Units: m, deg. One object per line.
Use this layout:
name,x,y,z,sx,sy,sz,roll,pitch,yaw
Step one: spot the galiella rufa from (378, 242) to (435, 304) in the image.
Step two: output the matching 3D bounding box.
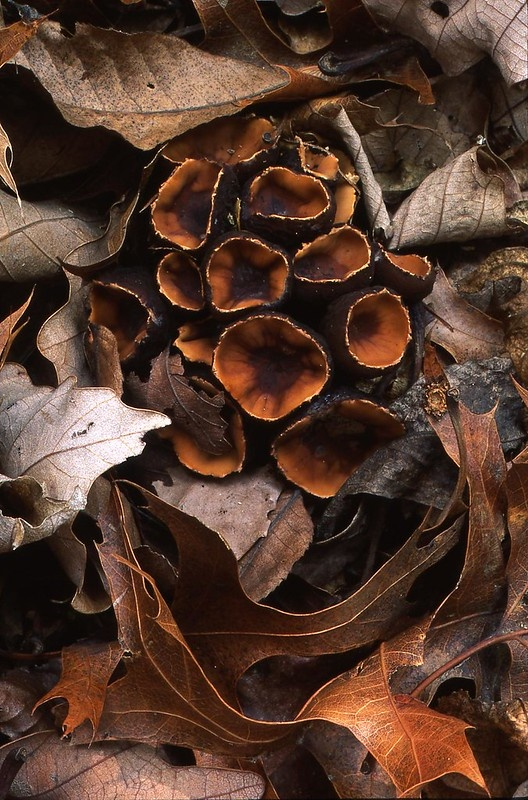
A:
galiella rufa,0.335,-0.294,1.883,0.141,0.078,0.112,35,41,26

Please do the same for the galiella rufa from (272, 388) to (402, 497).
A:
galiella rufa,0.158,0.106,1.886,0.294,0.226,0.088,-42,20,18

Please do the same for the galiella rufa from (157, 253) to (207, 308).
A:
galiella rufa,-0.189,-0.268,1.844,0.109,0.127,0.048,-20,12,4

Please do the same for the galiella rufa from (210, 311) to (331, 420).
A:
galiella rufa,0.013,-0.078,1.789,0.260,0.230,0.139,0,36,2

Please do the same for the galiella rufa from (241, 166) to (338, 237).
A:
galiella rufa,0.049,-0.435,1.803,0.167,0.135,0.152,20,41,29

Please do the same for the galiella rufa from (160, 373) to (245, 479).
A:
galiella rufa,-0.160,0.067,1.880,0.196,0.231,0.086,-38,-4,39

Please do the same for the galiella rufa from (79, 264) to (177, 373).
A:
galiella rufa,-0.309,-0.204,1.843,0.216,0.225,0.199,-23,2,8

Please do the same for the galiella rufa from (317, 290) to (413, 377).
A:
galiella rufa,0.228,-0.146,1.792,0.198,0.176,0.140,-1,36,1
